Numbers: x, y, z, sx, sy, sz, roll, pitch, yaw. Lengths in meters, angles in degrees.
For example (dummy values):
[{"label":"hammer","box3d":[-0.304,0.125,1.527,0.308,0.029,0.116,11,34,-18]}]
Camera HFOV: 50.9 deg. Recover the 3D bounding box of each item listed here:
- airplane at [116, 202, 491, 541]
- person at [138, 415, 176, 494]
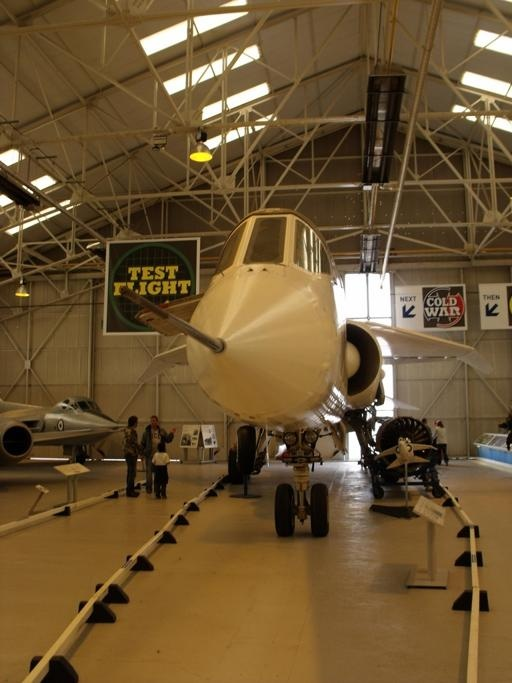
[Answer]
[{"label":"airplane","box3d":[0.586,0.089,5.308,2.765,1.834,4.509,-1,-7,11]},{"label":"person","box3d":[-2.090,2.377,11.421,0.784,1.608,0.537,-1,-12,-4]}]
